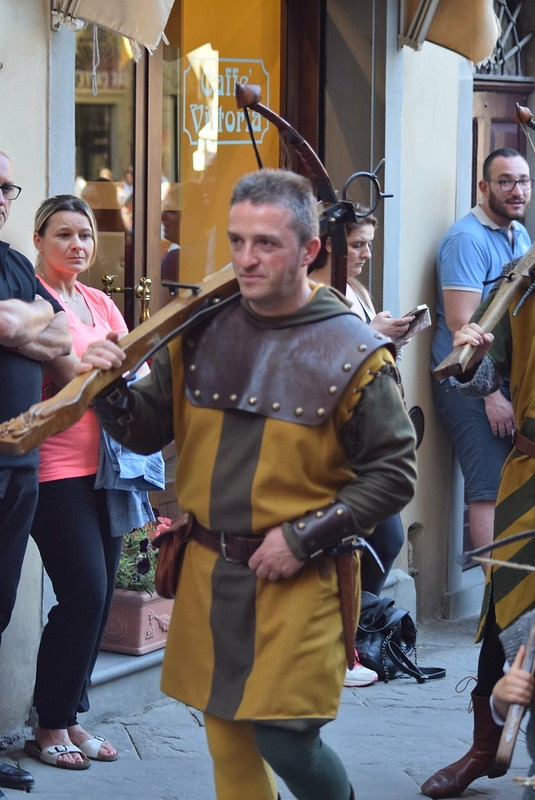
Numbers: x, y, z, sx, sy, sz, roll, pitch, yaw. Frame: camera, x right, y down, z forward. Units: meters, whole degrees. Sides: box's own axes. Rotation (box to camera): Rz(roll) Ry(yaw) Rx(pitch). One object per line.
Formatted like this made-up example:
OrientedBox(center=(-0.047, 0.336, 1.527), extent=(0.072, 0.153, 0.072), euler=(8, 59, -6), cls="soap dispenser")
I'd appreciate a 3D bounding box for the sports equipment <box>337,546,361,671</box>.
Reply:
OrientedBox(center=(0.187, 0.465, 2.260), extent=(0.062, 0.258, 0.029), euler=(1, 4, -3), cls="sports equipment")
